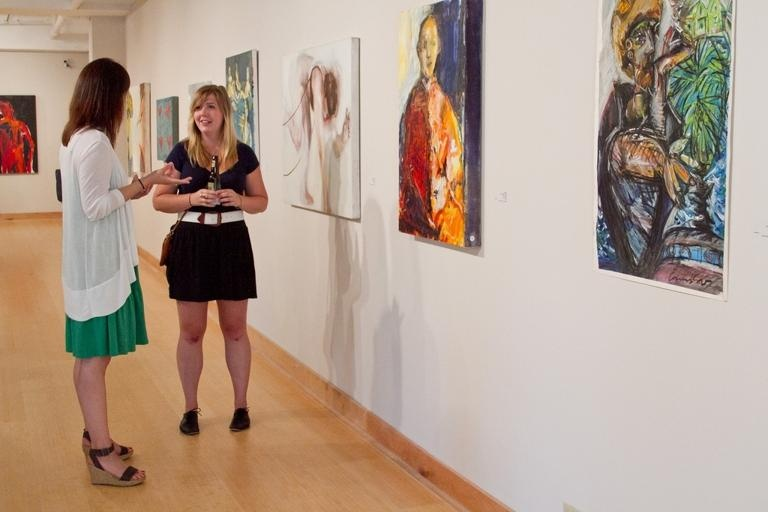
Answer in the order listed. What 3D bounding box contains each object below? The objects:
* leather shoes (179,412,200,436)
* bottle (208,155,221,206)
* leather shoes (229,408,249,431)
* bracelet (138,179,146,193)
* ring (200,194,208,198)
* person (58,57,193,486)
[{"bbox_3d":[-1.438,1.229,4.159,0.085,0.176,0.237,3,1,-17],"label":"leather shoes"},{"bbox_3d":[-1.192,-0.580,3.926,0.079,0.231,0.154,-2,10,-18],"label":"bottle"},{"bbox_3d":[-1.085,1.224,4.209,0.076,0.110,0.227,0,-4,-1],"label":"leather shoes"},{"bbox_3d":[-1.542,-0.449,3.603,0.024,0.067,0.057,-26,31,-21],"label":"bracelet"},{"bbox_3d":[-1.232,-0.410,3.817,0.044,0.029,0.012,1,9,2],"label":"ring"},{"bbox_3d":[-1.755,0.104,3.531,0.517,2.609,0.401,1,8,2],"label":"person"}]
